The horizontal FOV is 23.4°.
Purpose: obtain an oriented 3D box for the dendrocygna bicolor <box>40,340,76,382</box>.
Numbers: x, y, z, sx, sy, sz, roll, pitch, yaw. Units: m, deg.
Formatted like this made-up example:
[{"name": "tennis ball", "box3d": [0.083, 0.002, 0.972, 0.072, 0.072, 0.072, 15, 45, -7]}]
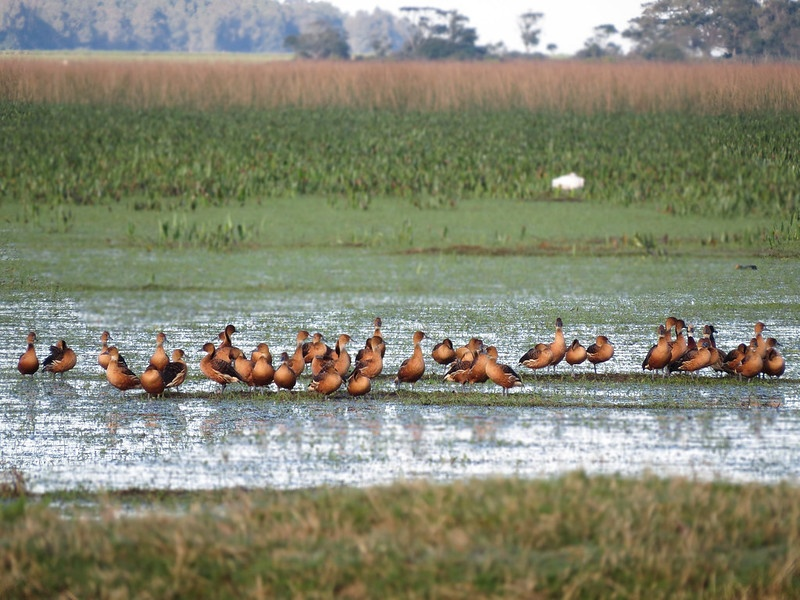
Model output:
[{"name": "dendrocygna bicolor", "box3d": [-5.880, 0.979, 33.364, 0.575, 0.645, 0.354, 0, 12, -5]}]
